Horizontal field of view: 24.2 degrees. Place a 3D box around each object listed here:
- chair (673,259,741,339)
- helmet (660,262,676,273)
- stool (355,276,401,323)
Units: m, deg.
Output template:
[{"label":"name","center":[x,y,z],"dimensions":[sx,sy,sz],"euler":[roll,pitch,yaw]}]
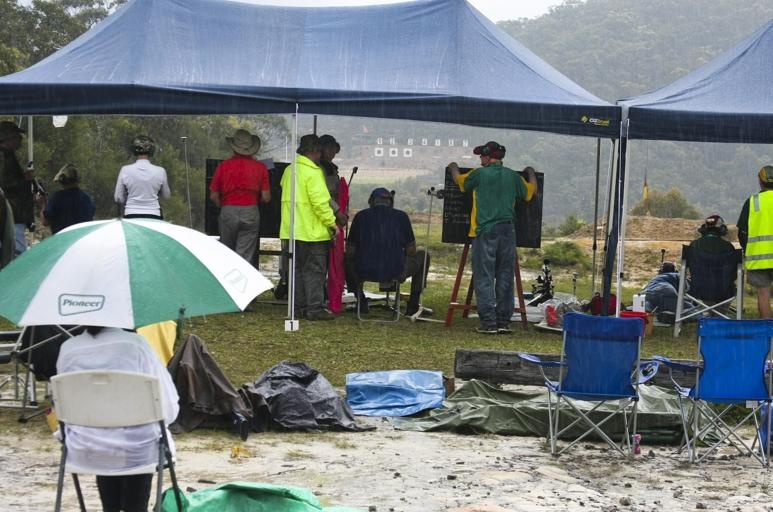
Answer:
[{"label":"chair","center":[10.957,1.648,62.072],"dimensions":[2.545,3.721,2.394],"euler":[0,0,14]},{"label":"helmet","center":[9.925,0.389,64.180],"dimensions":[0.448,0.471,0.340],"euler":[4,2,-37]},{"label":"stool","center":[-0.228,1.610,63.189],"dimensions":[1.326,1.806,1.770],"euler":[0,-2,12]}]
